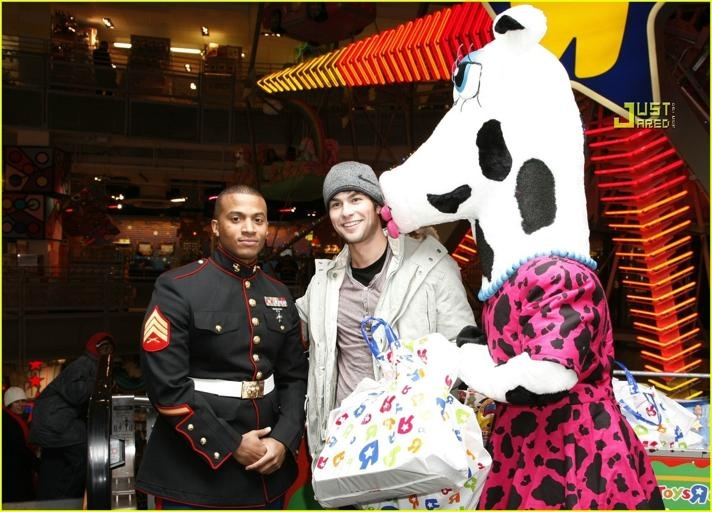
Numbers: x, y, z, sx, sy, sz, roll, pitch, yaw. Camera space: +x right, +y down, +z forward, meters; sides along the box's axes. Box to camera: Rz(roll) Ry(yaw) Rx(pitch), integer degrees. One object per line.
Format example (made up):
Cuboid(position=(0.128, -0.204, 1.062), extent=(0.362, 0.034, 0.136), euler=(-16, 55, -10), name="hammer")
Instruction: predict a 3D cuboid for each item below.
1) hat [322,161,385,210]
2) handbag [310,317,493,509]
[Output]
Cuboid(position=(0.004, -0.389, 3.355), extent=(0.211, 0.209, 0.286), euler=(-24, -17, 31), name="hat")
Cuboid(position=(0.215, 0.676, 2.736), extent=(0.842, 0.811, 0.360), euler=(-17, -46, 38), name="handbag")
